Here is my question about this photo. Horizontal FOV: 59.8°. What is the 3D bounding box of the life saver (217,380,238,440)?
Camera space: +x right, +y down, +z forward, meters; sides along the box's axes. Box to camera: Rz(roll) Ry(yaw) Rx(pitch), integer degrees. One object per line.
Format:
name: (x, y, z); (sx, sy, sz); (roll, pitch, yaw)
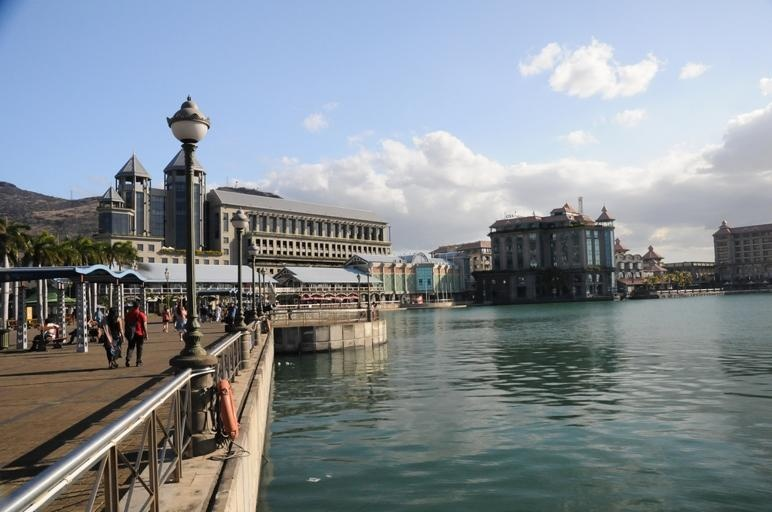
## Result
life saver: (-3.792, 3.725, 16.201); (0.406, 1.531, 0.550); (-2, -3, -14)

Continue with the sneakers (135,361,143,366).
sneakers: (-9.647, 4.230, 26.418); (0.301, 0.276, 0.188); (-4, -6, 38)

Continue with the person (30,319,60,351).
person: (-18.715, 4.376, 37.068); (0.860, 1.493, 2.682); (0, -1, 4)

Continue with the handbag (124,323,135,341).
handbag: (-10.020, 2.977, 26.418); (0.573, 0.613, 0.657); (2, -12, -14)

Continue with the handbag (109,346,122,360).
handbag: (-10.456, 3.718, 25.976); (0.240, 0.660, 0.532); (-19, -20, 35)

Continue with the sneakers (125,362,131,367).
sneakers: (-9.991, 4.193, 25.998); (0.217, 0.258, 0.278); (-2, -10, 4)
